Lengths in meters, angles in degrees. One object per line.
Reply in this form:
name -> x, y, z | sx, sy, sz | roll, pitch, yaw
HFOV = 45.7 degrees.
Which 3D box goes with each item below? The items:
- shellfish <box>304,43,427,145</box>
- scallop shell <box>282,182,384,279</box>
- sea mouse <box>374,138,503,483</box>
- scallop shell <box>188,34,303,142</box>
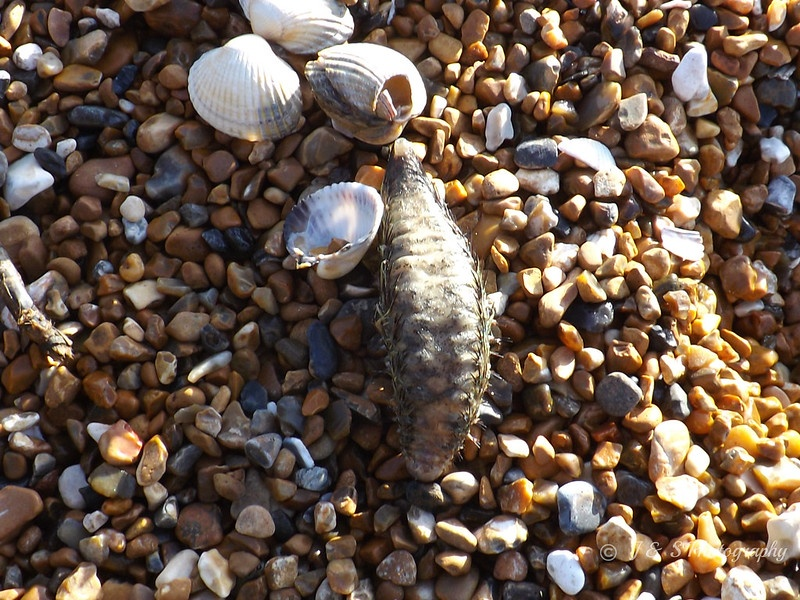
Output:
shellfish -> -0.175, -1.055, 4.827 | 0.624, 0.272, 0.474 | 8, 82, -3
scallop shell -> -0.318, -0.292, 4.716 | 0.536, 0.275, 0.630 | 17, 38, 29
sea mouse -> 0.152, 0.032, 4.478 | 0.537, 0.401, 1.527 | -12, 84, -5
scallop shell -> -0.782, -1.055, 4.861 | 0.559, 0.155, 0.534 | -18, 85, -6
